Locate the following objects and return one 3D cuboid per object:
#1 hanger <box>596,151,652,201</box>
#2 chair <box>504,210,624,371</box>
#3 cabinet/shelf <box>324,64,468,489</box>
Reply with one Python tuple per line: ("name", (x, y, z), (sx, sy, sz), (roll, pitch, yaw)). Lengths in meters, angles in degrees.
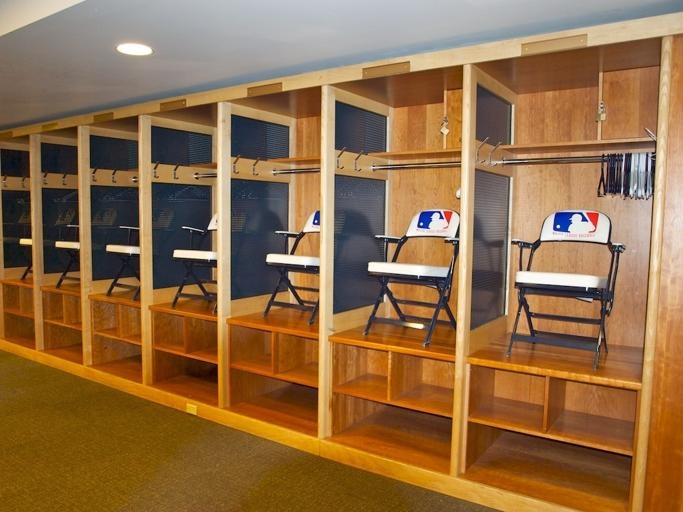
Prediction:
("hanger", (2.050, -0.579, 3.994), (0.470, 0.346, 0.076), (1, -1, 31))
("chair", (1.631, 0.191, 4.131), (0.783, 1.048, 0.893), (6, 11, 24))
("cabinet/shelf", (0.553, 0.052, 4.513), (1.121, 2.945, 1.470), (4, 11, 13))
